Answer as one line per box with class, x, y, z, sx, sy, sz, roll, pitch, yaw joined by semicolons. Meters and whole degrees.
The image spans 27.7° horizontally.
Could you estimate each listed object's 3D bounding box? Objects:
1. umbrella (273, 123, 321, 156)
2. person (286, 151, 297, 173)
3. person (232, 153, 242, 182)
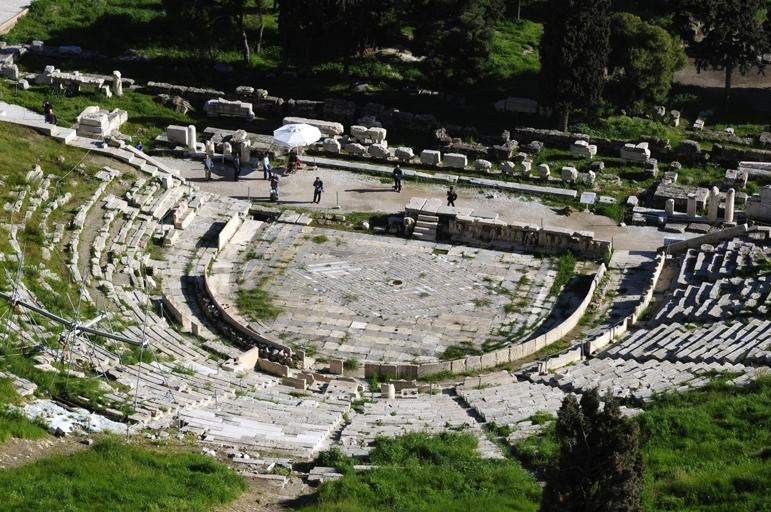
umbrella;-6.056;-8.133;110.279;3.045;2.289;1.912;-11;66;-16
person;-6.478;-6.638;110.410;0.891;0.731;1.423;10;89;-42
person;-10.101;-6.124;109.506;0.574;1.903;0.810;11;67;0
